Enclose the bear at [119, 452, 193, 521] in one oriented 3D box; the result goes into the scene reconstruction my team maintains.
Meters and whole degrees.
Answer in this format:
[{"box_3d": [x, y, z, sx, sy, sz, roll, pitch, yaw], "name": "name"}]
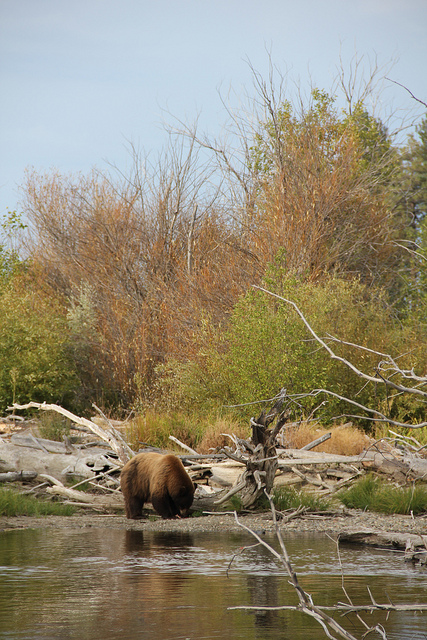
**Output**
[{"box_3d": [-0.656, 1.915, 12.503, 0.927, 0.769, 0.532, -6, -9, 40], "name": "bear"}]
